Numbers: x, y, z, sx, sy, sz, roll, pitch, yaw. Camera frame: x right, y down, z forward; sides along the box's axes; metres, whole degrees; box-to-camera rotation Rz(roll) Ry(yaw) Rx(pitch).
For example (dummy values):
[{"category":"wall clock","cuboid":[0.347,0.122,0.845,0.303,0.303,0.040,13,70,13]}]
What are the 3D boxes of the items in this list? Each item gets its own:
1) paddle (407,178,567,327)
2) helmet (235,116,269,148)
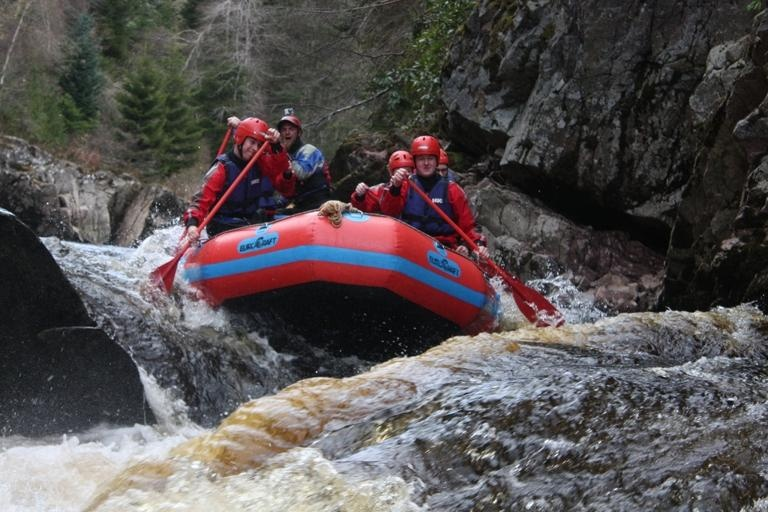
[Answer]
[{"category":"paddle","cuboid":[1.405,0.004,11.756,2.675,0.377,0.182,50,34,17]},{"category":"helmet","cuboid":[-1.770,-1.676,11.668,0.418,0.335,0.310,31,21,34]}]
